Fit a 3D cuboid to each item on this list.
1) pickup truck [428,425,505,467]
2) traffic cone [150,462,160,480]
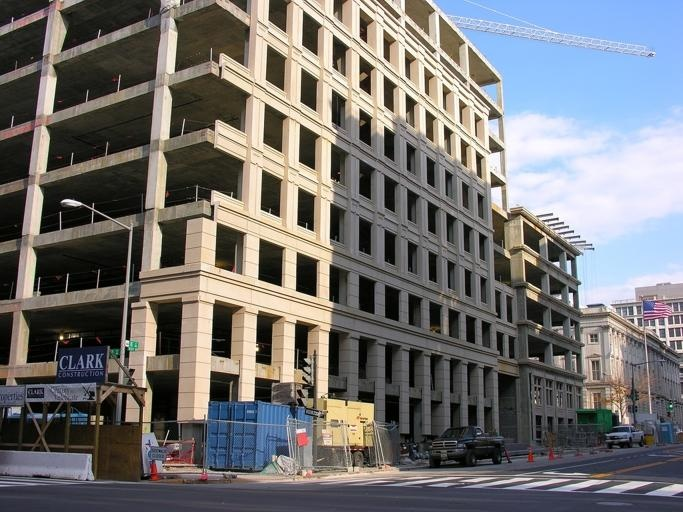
[{"bbox_3d":[7.781,11.721,47.342,2.857,1.579,4.238,-14,-26,34],"label":"pickup truck"},{"bbox_3d":[-8.612,9.949,35.283,0.424,0.922,1.380,3,-19,-13],"label":"traffic cone"}]
